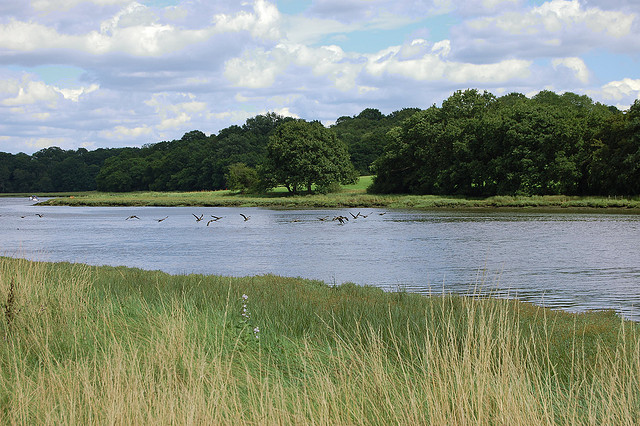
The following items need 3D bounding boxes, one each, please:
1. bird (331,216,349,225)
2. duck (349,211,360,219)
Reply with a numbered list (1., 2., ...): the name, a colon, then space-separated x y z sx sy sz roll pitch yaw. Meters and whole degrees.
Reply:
1. bird: 1.733 0.482 87.681 0.915 0.281 0.956 4 -39 22
2. duck: 3.351 0.133 99.524 0.886 0.468 0.618 1 5 -4
